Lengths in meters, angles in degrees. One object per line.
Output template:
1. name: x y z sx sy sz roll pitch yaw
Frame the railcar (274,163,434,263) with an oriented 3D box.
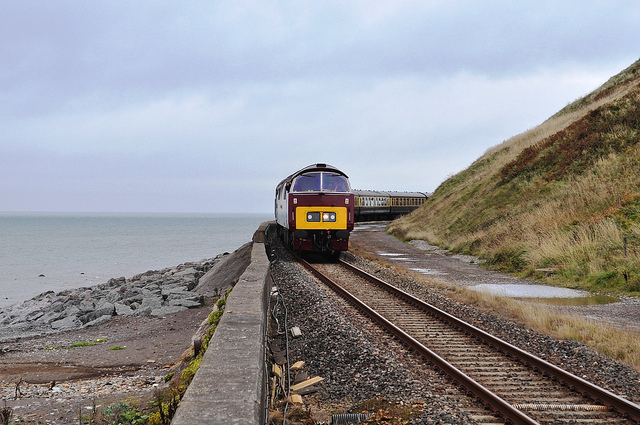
1. railcar: -1.188 -0.229 28.215 3.043 4.193 16.752 0 1 -10

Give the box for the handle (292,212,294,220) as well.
1. handle: -1.241 0.155 20.467 0.082 0.315 0.015 0 -2 41
